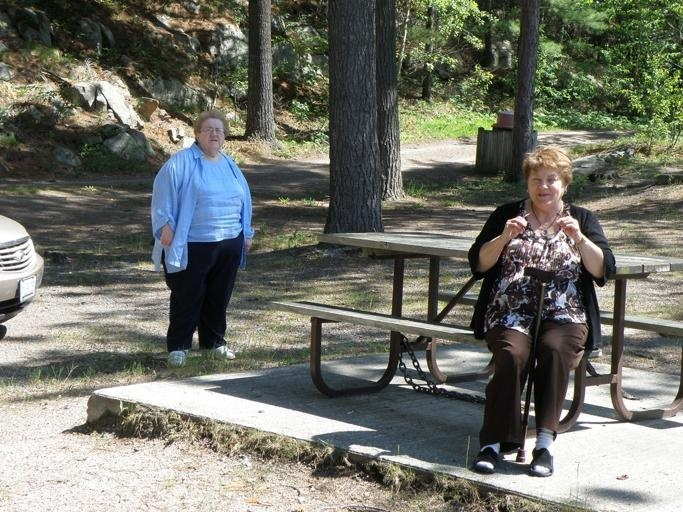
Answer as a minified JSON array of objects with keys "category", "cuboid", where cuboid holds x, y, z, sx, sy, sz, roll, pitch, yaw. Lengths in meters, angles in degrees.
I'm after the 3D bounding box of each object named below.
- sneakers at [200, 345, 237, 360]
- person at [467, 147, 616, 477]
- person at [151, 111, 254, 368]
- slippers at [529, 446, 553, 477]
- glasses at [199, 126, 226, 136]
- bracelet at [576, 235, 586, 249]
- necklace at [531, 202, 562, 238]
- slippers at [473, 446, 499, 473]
[{"category":"sneakers","cuboid":[-1.147,0.902,9.087,0.327,0.133,0.127,1,4,3]},{"category":"person","cuboid":[1.413,0.338,7.084,0.958,2.230,1.193,7,12,27]},{"category":"person","cuboid":[-1.266,-0.182,8.909,0.922,2.288,0.367,-7,13,-34]},{"category":"slippers","cuboid":[1.409,1.441,6.768,0.166,0.175,0.121,3,11,12]},{"category":"glasses","cuboid":[-1.164,-1.144,8.813,0.231,0.073,0.091,-1,11,-10]},{"category":"bracelet","cuboid":[1.750,-0.110,7.076,0.076,0.059,0.076,-29,43,14]},{"category":"necklace","cuboid":[1.541,-0.269,7.239,0.203,0.260,0.068,1,-3,15]},{"category":"slippers","cuboid":[1.019,1.432,6.780,0.153,0.166,0.124,2,11,7]}]
